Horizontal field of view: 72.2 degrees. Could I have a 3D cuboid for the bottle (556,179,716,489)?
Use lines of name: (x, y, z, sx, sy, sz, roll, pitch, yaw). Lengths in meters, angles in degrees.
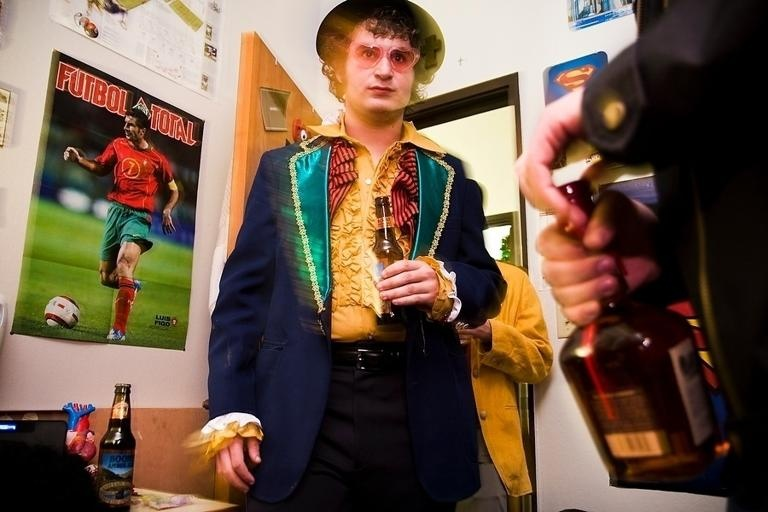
bottle: (0.377, 0.114, 0.846, 0.181, 0.438, 0.180, -18, -5, -2)
